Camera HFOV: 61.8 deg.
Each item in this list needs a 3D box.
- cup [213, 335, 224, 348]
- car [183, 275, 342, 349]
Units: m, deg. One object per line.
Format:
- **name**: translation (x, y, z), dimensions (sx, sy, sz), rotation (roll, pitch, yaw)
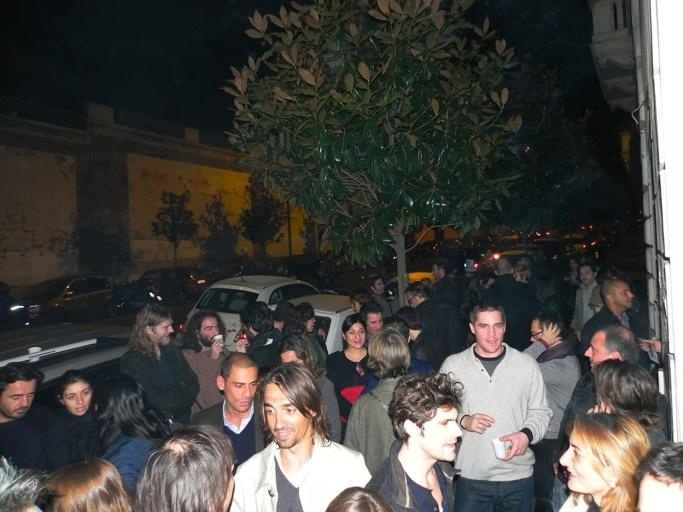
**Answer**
- **cup**: translation (-1.449, 0.999, 6.778), dimensions (0.108, 0.115, 0.117), rotation (-3, -6, 0)
- **car**: translation (-0.888, 1.135, 10.718), dimensions (2.213, 1.005, 1.222), rotation (7, -18, -21)
